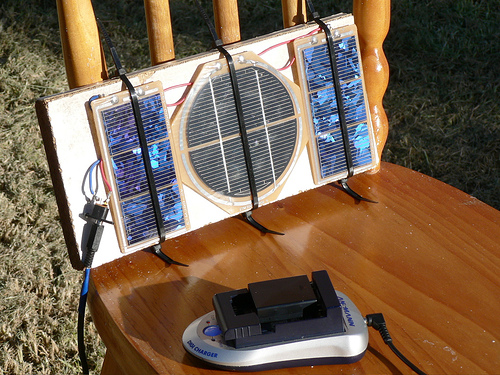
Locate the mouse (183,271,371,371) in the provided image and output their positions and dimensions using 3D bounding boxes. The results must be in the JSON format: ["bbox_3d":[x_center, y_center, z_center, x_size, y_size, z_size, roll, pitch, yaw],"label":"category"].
[{"bbox_3d":[0.052,0.259,1.086,0.356,0.091,0.154,-9,40,-1],"label":"mouse"}]
